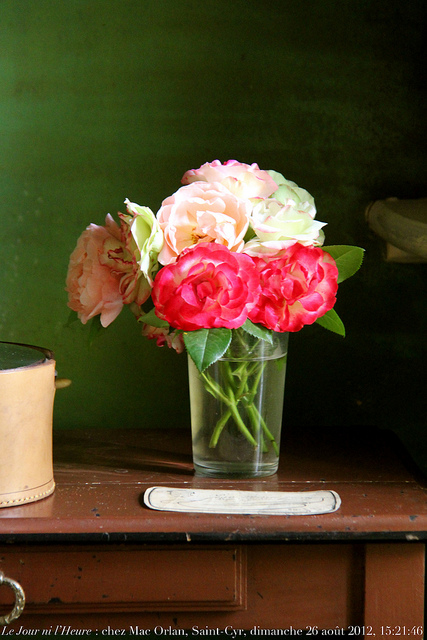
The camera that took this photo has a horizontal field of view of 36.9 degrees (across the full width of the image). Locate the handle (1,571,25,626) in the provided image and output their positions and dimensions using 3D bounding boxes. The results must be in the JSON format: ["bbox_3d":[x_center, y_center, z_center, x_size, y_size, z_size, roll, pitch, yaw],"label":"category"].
[{"bbox_3d":[-0.184,0.253,0.585,0.020,0.049,0.056,-3,6,-17],"label":"handle"}]

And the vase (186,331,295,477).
[{"bbox_3d":[0.016,0.095,0.752,0.141,0.168,0.121,-1,-8,-8],"label":"vase"}]

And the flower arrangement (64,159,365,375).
[{"bbox_3d":[-0.012,-0.055,0.675,0.314,0.184,0.202,-7,38,-26],"label":"flower arrangement"}]

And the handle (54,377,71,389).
[{"bbox_3d":[-0.179,0.076,0.757,0.014,0.012,0.051,11,-14,-17],"label":"handle"}]
